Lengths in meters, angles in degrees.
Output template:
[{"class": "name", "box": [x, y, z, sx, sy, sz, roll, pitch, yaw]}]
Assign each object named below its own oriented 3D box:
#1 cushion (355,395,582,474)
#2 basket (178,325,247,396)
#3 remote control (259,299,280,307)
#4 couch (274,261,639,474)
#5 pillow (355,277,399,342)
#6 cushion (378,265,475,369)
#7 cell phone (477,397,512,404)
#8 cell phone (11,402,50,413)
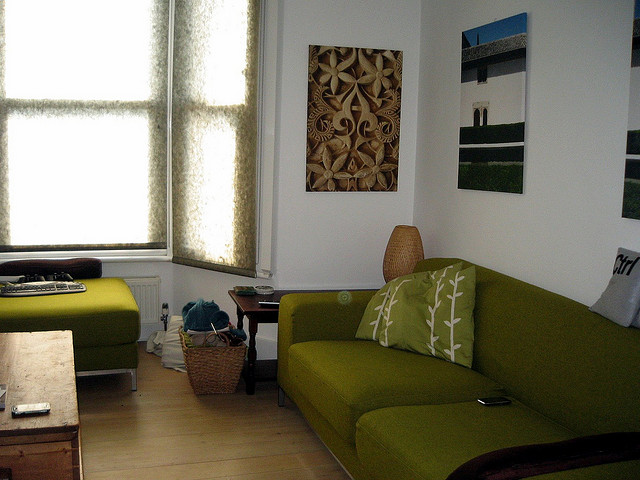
[{"class": "cushion", "box": [0.568, 0.838, 2.047, 0.759, 0.231, 0.498, 1, 10, -15]}, {"class": "basket", "box": [-0.719, 0.746, 3.512, 0.394, 0.423, 0.587, 3, 7, -12]}, {"class": "remote control", "box": [-0.328, 0.402, 3.305, 0.122, 0.025, 0.145, 2, 10, -9]}, {"class": "couch", "box": [0.513, 0.625, 2.470, 1.095, 0.806, 1.530, 0, 10, -17]}, {"class": "pillow", "box": [0.298, 0.405, 2.937, 0.082, 0.313, 0.294, 13, -12, -1]}, {"class": "cushion", "box": [0.521, 0.340, 2.616, 0.494, 0.509, 0.153, -3, -21, 40]}, {"class": "cell phone", "box": [0.764, 0.713, 2.278, 0.117, 0.014, 0.072, 0, 7, -13]}, {"class": "cell phone", "box": [-1.063, 0.623, 1.909, 0.087, 0.020, 0.056, 1, 2, -13]}]
